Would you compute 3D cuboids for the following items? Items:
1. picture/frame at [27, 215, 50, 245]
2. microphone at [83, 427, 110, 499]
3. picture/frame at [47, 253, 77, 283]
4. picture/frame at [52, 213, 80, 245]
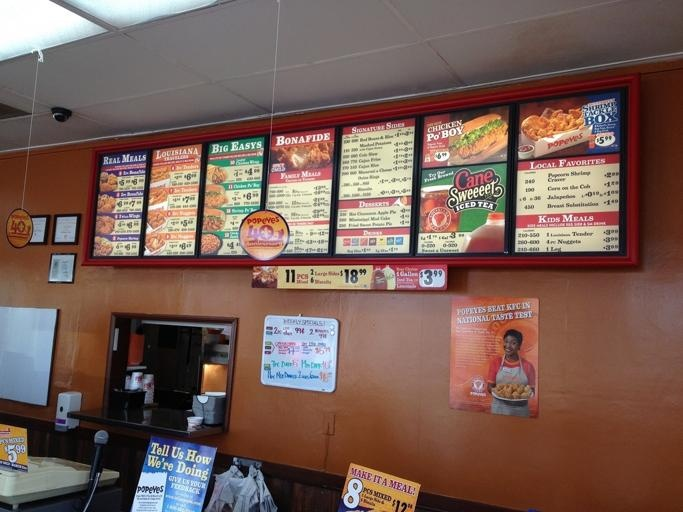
[{"bbox_3d":[-2.748,-0.230,4.629,0.285,0.282,0.019,-4,-5,27],"label":"picture/frame"},{"bbox_3d":[-1.319,1.080,2.766,0.070,0.296,0.423,5,-8,-23],"label":"microphone"},{"bbox_3d":[-2.570,0.117,4.709,0.274,0.271,0.018,-3,-9,23],"label":"picture/frame"},{"bbox_3d":[-2.556,-0.240,4.743,0.292,0.288,0.019,-2,-6,21],"label":"picture/frame"}]
